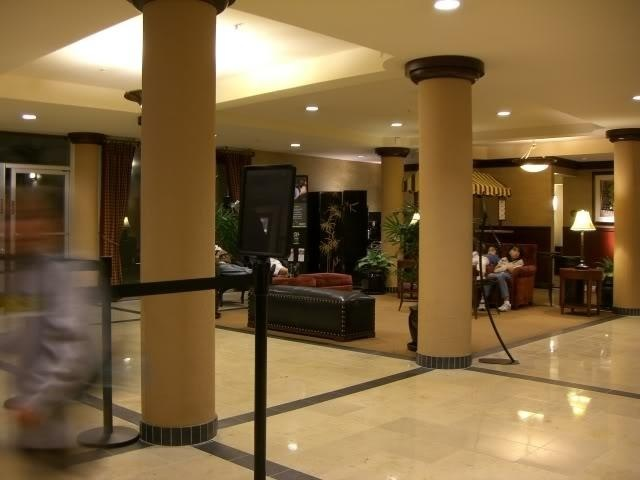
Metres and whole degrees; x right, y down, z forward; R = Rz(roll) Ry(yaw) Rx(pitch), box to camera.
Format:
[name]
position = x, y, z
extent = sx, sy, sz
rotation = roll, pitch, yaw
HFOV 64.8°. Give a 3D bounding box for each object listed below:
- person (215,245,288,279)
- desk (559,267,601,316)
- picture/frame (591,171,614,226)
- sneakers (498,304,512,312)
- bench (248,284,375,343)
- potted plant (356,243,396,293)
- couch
[person]
position = -1.372, 0.487, 9.776
extent = 1.306, 0.411, 0.975
rotation = 3, -3, -24
[desk]
position = 4.855, 0.930, 9.321
extent = 0.710, 0.817, 0.729
rotation = 1, -2, 26
[picture/frame]
position = 7.778, -1.120, 13.793
extent = 0.465, 1.339, 0.352
rotation = 1, 1, 38
[sneakers]
position = 3.527, 1.280, 9.588
extent = 0.116, 0.134, 0.323
rotation = -3, -6, 42
[bench]
position = -0.189, 1.055, 7.559
extent = 1.878, 0.734, 0.693
rotation = 0, -2, 39
[potted plant]
position = 1.227, 0.734, 11.541
extent = 0.822, 0.982, 1.017
rotation = 0, -3, 8
[couch]
position = 3.765, 0.678, 9.987
extent = 0.726, 1.247, 0.904
rotation = 0, 2, -40
